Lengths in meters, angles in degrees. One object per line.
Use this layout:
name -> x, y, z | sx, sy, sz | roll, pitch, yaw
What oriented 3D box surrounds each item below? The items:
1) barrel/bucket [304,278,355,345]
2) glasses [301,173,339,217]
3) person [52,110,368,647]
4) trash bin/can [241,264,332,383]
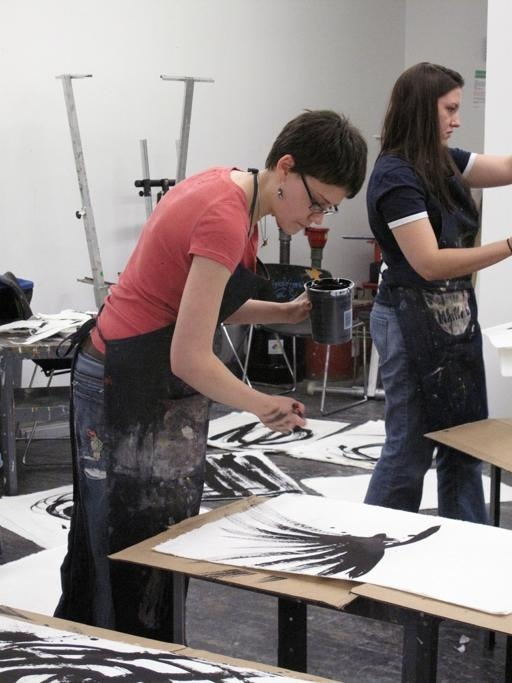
barrel/bucket -> 0.170, -0.072, 1.735 | 0.166, 0.155, 0.159 | -3, 15, 1
glasses -> 0.110, -0.261, 1.258 | 0.019, 0.060, 0.064 | -21, -1, 16
person -> -0.114, 0.076, 1.352 | 0.554, 0.977, 0.371 | 3, 10, 35
trash bin/can -> 0.106, -0.038, 6.054 | 0.618, 0.725, 0.530 | 0, 2, -26
